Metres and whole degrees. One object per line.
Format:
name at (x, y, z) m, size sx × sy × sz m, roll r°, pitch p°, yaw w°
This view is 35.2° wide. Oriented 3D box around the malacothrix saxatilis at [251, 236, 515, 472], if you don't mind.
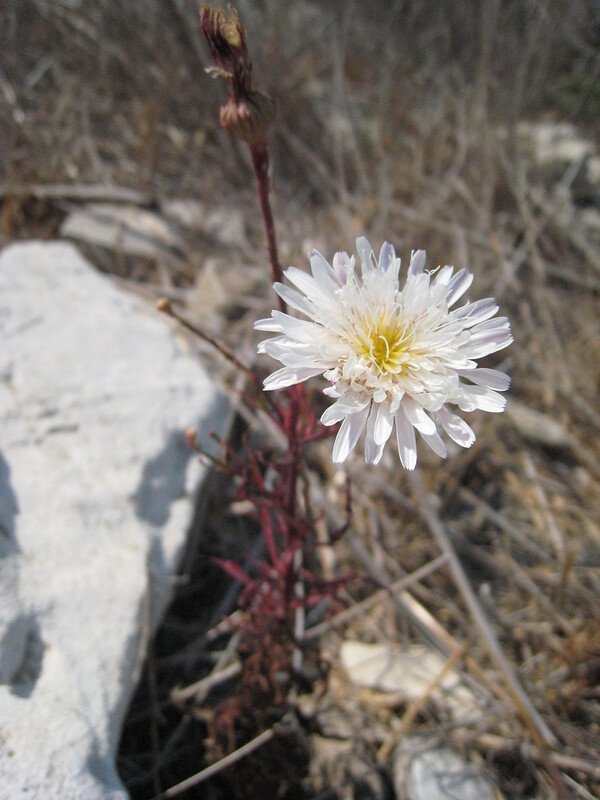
malacothrix saxatilis at (0.179, -0.116, 2.037) m, size 0.515 × 0.281 × 0.527 m, roll -32°, pitch 62°, yaw -14°
